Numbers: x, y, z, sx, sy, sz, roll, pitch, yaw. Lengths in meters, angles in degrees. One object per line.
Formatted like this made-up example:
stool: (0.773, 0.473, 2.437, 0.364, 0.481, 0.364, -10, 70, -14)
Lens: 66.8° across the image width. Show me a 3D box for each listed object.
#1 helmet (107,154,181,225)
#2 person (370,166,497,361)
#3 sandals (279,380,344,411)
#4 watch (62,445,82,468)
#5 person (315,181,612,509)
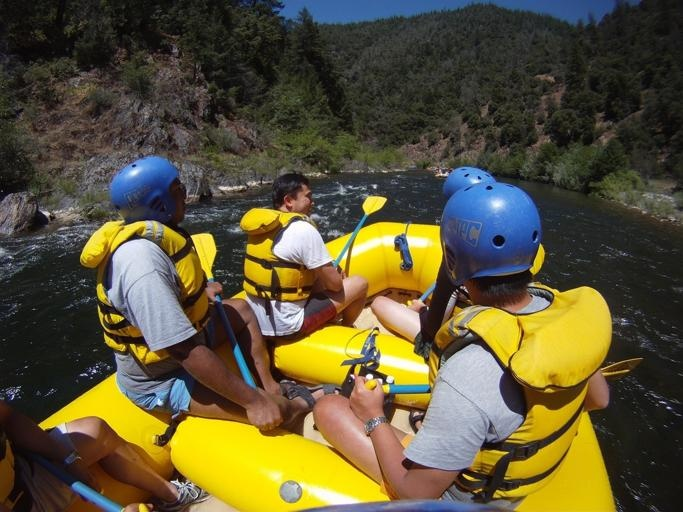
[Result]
helmet: (-1.453, -0.505, 3.839, 0.433, 0.477, 0.561, 4, 25, 25)
person: (0.820, 0.097, 4.696, 1.135, 1.543, 0.519, 8, -26, 21)
sandals: (-0.302, 1.146, 4.257, 0.600, 0.212, 0.242, 6, -4, -19)
watch: (-1.778, 1.331, 3.401, 0.067, 0.097, 0.031, 28, -15, 7)
person: (0.831, 0.576, 3.334, 1.525, 1.982, 0.970, -7, 22, -19)
